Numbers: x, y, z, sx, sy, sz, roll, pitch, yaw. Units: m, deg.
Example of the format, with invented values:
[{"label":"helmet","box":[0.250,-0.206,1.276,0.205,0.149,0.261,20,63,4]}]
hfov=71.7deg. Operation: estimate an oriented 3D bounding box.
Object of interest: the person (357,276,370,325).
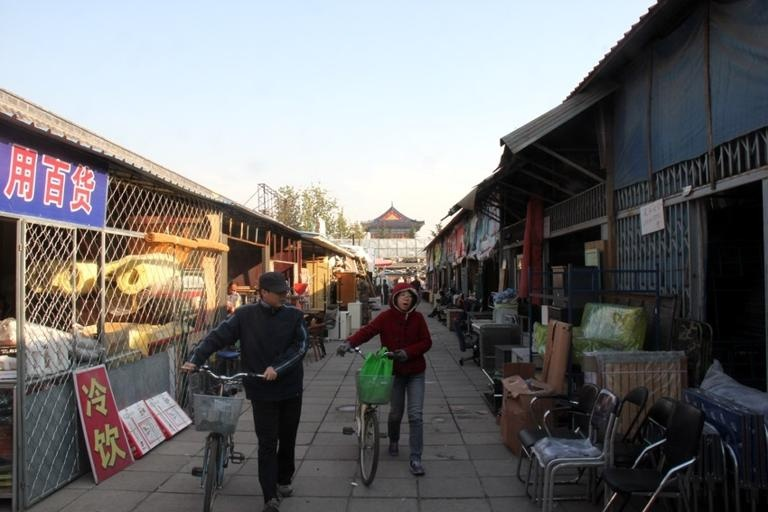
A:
[{"label":"person","box":[-0.708,1.850,22.716,0.501,2.093,0.743,-10,9,-23]}]

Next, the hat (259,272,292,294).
[{"label":"hat","box":[-1.136,0.280,5.564,0.273,0.137,0.206,-2,3,5]}]

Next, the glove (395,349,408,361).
[{"label":"glove","box":[0.210,1.163,6.157,0.110,0.108,0.122,2,-7,31]}]

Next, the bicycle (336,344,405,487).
[{"label":"bicycle","box":[-0.192,1.870,6.472,0.595,1.536,1.266,1,-4,-4]}]

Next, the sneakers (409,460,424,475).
[{"label":"sneakers","box":[0.400,2.499,6.290,0.169,0.172,0.249,0,-4,3]}]
